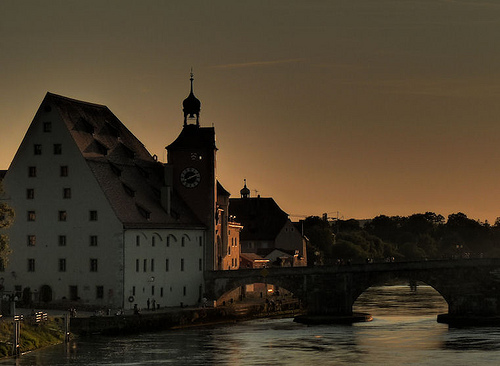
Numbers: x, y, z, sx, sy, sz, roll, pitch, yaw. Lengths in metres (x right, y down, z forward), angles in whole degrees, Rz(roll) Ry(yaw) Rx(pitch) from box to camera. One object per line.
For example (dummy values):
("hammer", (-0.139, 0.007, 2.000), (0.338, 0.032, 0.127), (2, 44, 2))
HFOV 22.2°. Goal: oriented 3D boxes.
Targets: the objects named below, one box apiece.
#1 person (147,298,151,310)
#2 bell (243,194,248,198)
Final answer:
("person", (-11.735, 13.639, 144.207), (0.328, 0.997, 0.837), (3, 1, 7))
("bell", (-1.063, 2.342, 218.697), (0.841, 0.772, 0.447), (0, 3, 10))
